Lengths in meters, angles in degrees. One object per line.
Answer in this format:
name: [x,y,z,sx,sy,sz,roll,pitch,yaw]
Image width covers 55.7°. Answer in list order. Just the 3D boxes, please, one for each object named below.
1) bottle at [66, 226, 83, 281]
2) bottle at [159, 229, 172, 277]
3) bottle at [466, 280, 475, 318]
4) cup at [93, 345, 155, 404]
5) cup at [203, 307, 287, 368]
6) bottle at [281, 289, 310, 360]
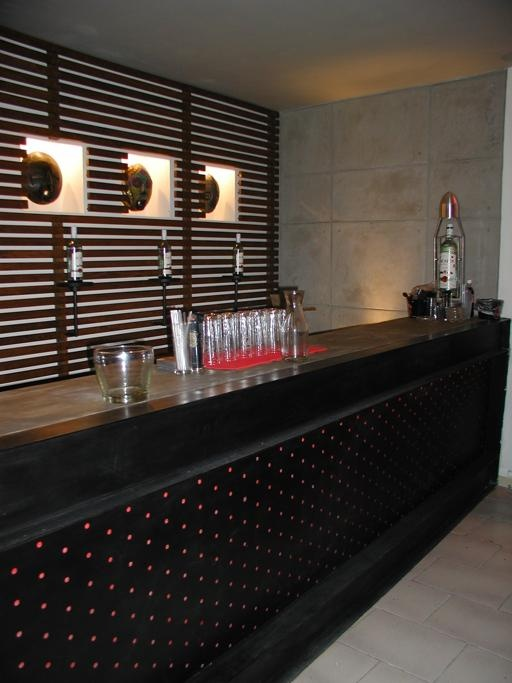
bottle: [-1.327,-0.628,3.529,0.094,0.411,0.427,0,4,-23]
bottle: [-0.809,-0.791,4.281,0.091,0.487,0.440,0,4,-11]
bottle: [1.541,-0.300,3.493,0.047,0.250,0.434,3,4,26]
cup: [-0.350,0.081,1.278,0.140,0.147,0.162,0,4,-17]
cup: [-0.021,-0.018,1.885,0.153,0.217,0.450,3,4,32]
bottle: [0.152,-0.066,1.904,0.093,0.272,0.234,1,4,3]
